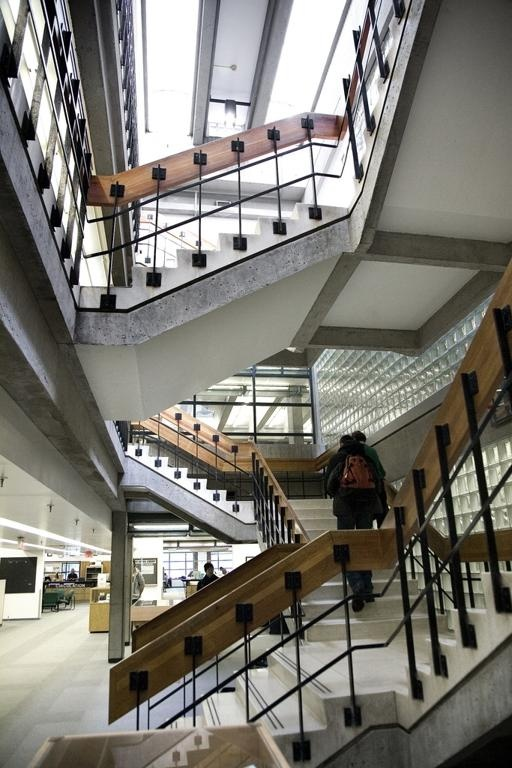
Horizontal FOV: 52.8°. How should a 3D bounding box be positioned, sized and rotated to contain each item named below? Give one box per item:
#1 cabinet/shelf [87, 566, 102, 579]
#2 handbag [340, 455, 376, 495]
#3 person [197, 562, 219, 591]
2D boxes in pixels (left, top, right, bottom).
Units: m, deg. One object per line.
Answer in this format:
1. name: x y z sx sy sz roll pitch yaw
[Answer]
1. cabinet/shelf: -8.335 9.728 26.529 0.689 0.748 1.956 3 -25 -19
2. handbag: 0.797 0.723 4.039 0.213 0.280 0.139 6 -24 -14
3. person: -0.665 2.567 6.993 0.193 0.322 0.817 -1 -24 -9
